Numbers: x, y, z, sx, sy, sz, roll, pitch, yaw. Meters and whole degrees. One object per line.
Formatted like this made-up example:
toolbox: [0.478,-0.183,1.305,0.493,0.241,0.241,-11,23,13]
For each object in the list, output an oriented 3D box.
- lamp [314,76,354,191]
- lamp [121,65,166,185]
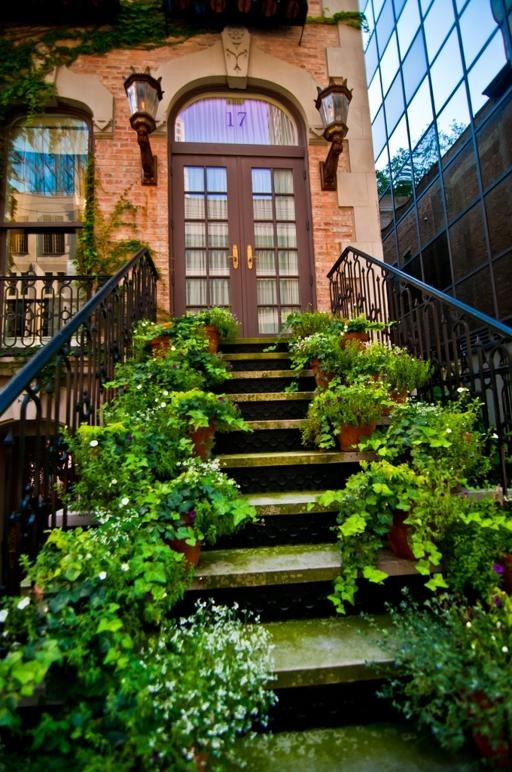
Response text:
lamp: [0.803,-2.930,5.861,0.342,1.337,0.958,-1,-8,7]
lamp: [-1.141,-2.652,5.555,0.391,0.971,0.953,1,-8,-7]
